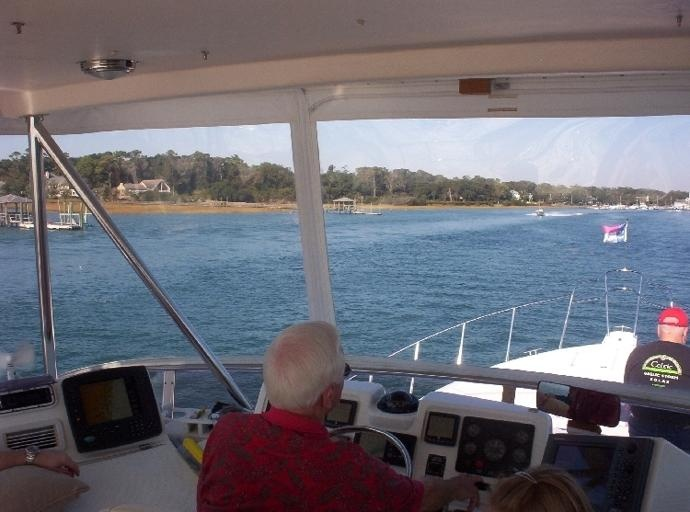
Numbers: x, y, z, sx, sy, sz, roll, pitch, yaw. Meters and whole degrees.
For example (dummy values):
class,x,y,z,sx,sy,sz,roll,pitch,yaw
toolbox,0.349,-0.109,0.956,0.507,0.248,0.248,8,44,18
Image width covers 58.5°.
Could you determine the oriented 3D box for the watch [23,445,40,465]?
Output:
class,x,y,z,sx,sy,sz,roll,pitch,yaw
watch,-1.350,0.871,2.699,0.050,0.062,0.071,12,7,-13
